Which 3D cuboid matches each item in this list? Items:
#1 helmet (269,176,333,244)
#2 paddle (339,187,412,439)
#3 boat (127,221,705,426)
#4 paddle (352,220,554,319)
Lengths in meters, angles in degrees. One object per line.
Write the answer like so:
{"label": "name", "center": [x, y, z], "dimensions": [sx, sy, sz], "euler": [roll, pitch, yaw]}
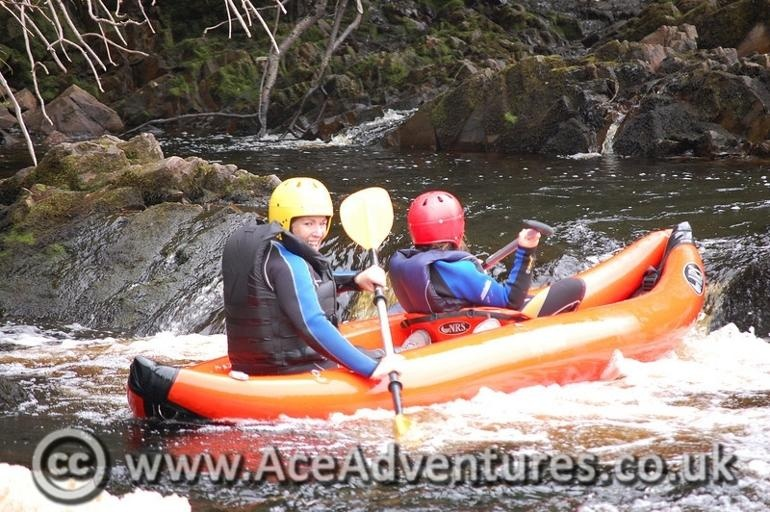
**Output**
{"label": "helmet", "center": [-0.720, -0.385, 6.333], "dimensions": [0.562, 0.421, 0.453], "euler": [13, 9, 17]}
{"label": "paddle", "center": [-0.024, 0.417, 6.725], "dimensions": [0.558, 2.202, 0.153], "euler": [-10, -28, 0]}
{"label": "boat", "center": [0.544, 0.794, 6.837], "dimensions": [5.271, 1.019, 1.728], "euler": [-9, 11, -11]}
{"label": "paddle", "center": [0.579, 0.166, 7.128], "dimensions": [0.424, 0.233, 1.835], "euler": [39, 48, 26]}
